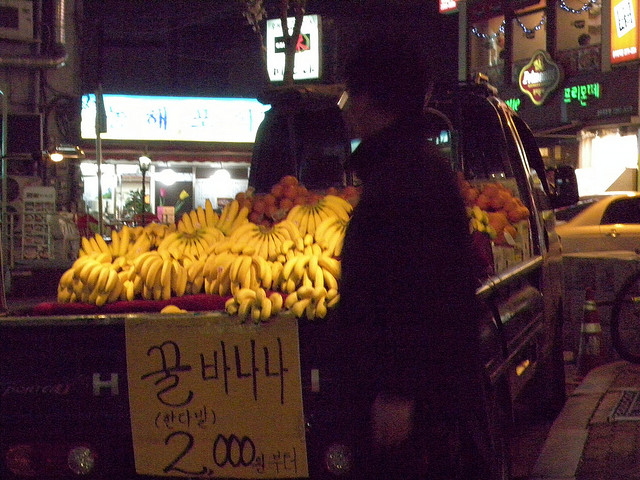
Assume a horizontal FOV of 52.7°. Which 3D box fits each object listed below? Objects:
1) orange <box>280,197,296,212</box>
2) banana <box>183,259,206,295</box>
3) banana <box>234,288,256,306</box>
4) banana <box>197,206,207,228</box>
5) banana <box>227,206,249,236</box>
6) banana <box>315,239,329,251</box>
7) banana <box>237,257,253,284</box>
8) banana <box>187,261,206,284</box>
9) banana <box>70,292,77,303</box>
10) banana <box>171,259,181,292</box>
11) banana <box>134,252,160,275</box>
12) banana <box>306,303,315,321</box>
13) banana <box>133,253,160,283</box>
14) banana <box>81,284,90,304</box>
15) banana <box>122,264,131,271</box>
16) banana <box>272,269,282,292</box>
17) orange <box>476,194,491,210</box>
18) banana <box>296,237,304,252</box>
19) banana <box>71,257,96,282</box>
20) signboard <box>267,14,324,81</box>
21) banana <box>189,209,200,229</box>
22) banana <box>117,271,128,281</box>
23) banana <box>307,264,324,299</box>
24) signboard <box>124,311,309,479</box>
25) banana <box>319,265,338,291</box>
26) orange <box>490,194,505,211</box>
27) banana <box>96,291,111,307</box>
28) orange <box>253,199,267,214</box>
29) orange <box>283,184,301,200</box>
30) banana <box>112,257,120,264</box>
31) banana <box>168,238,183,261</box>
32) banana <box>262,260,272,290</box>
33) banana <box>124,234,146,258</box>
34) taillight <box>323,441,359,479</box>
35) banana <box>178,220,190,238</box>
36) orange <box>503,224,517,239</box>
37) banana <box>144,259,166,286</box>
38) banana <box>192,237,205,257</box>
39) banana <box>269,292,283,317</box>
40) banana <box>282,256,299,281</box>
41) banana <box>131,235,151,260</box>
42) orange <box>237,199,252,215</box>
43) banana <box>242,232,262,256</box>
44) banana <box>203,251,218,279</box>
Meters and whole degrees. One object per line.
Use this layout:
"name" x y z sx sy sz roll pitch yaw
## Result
"orange" -0.256 -0.283 5.149 0.103 0.094 0.081 -2 5 -30
"banana" -0.872 0.261 4.496 0.113 0.277 0.075 0 10 -14
"banana" -0.448 0.344 3.845 0.042 0.079 0.150 0 10 24
"banana" -0.954 -0.186 5.221 0.056 0.249 0.060 -12 0 -10
"banana" -0.635 -0.143 5.056 0.050 0.221 0.054 36 -4 -35
"banana" 0.020 0.031 4.551 0.093 0.107 0.142 -1 -11 0
"banana" -0.490 0.200 4.283 0.114 0.181 0.076 4 -11 -24
"banana" -0.865 0.207 4.475 0.105 0.164 0.054 31 -12 -32
"banana" -1.695 0.397 4.447 0.042 0.068 0.021 2 -2 44
"banana" -0.973 0.231 4.425 0.076 0.225 0.054 1 8 20
"banana" -1.222 0.145 4.480 0.097 0.150 0.037 -12 -27 25
"banana" -0.051 0.416 3.752 0.054 0.087 0.027 0 -3 37
"banana" -1.201 0.175 4.457 0.053 0.157 0.180 4 -32 -2
"banana" -1.588 0.363 4.368 0.074 0.122 0.039 1 7 19
"banana" -1.368 0.193 4.567 0.055 0.036 0.028 3 -11 -20
"banana" -0.286 0.276 4.267 0.047 0.169 0.041 15 -2 -17
"orange" 1.376 -0.310 5.394 0.112 0.109 0.069 -10 14 -11
"banana" -0.136 0.033 4.529 0.053 0.122 0.125 -1 -11 -2
"banana" -1.648 0.194 4.472 0.133 0.158 0.055 15 9 29
"signboard" -0.980 -7.744 25.797 2.262 3.054 0.787 -3 -10 10
"banana" -0.999 -0.161 5.140 0.051 0.218 0.066 -6 -22 -23
"banana" -1.357 0.244 4.439 0.050 0.051 0.053 -6 6 36
"banana" -0.016 0.269 3.932 0.072 0.226 0.050 38 -59 -23
"signboard" -0.595 0.929 3.722 0.782 0.864 0.124 -1 2 5
"banana" 0.059 0.233 4.074 0.057 0.046 0.173 42 12 -36
"orange" 1.502 -0.317 5.418 0.101 0.066 0.124 -32 22 -37
"banana" -1.424 0.383 4.213 0.047 0.034 0.107 8 45 -4
"orange" -0.482 -0.271 5.206 0.087 0.126 0.097 3 -13 -4
"orange" -0.220 -0.396 5.287 0.095 0.078 0.127 2 8 3
"banana" -1.446 0.149 4.581 0.020 0.063 0.046 26 35 5
"banana" -1.058 0.059 4.728 0.105 0.233 0.361 1 -11 -13
"banana" -0.348 0.228 4.294 0.047 0.178 0.045 3 -27 6
"banana" -1.394 0.040 4.908 0.077 0.050 0.237 27 49 10
"taillight" 0.125 1.255 3.684 0.209 0.199 0.031 -4 -11 14
"banana" -1.062 -0.083 5.037 0.036 0.154 0.087 -20 -15 37
"orange" 1.563 -0.081 5.254 0.046 0.149 0.103 -20 2 5
"banana" -1.107 0.215 4.350 0.141 0.180 0.079 0 -10 -9
"banana" -0.928 0.036 4.929 0.033 0.218 0.054 -25 -31 8
"banana" -0.255 0.377 3.779 0.066 0.126 0.031 0 -13 -5
"banana" -0.185 0.166 4.249 0.053 0.067 0.209 -25 24 47
"banana" -1.338 0.059 4.875 0.068 0.198 0.053 1 -42 38
"orange" -0.599 -0.268 5.210 0.093 0.070 0.121 7 6 0
"banana" -0.485 0.043 4.592 0.043 0.076 0.201 1 26 15
"banana" -0.760 0.168 4.505 0.057 0.053 0.250 -3 37 9
